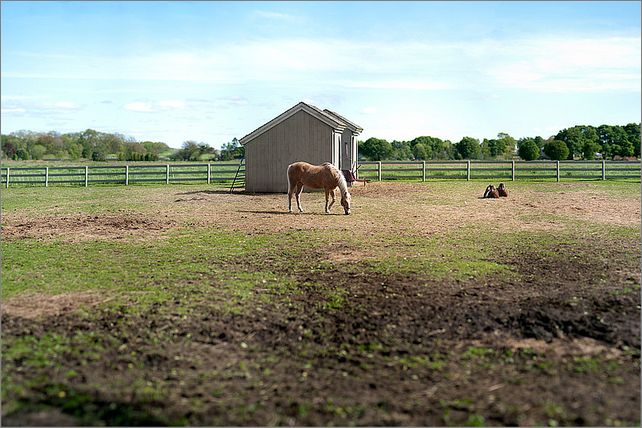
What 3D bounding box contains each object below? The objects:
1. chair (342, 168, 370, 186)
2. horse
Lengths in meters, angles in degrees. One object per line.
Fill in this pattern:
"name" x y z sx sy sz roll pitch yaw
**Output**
"chair" 1.509 -1.806 26.296 1.384 0.832 0.830 1 4 17
"horse" -0.093 -0.852 18.116 2.516 1.651 0.958 7 16 27
